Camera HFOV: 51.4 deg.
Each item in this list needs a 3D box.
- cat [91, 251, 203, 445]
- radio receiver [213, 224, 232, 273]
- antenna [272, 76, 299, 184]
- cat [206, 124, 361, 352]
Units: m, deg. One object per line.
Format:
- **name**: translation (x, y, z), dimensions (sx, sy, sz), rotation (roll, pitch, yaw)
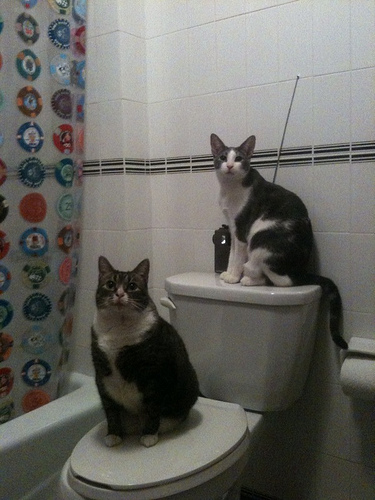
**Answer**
- **cat**: translation (-0.101, 0.194, 0.861), dimensions (0.217, 0.415, 0.307), rotation (1, 1, 17)
- **radio receiver**: translation (0.111, 0.003, 1.280), dimensions (0.062, 0.121, 0.032), rotation (8, 4, 40)
- **antenna**: translation (0.293, -0.341, 1.196), dimensions (0.008, 0.265, 0.054), rotation (4, 3, -22)
- **cat**: translation (0.286, -0.044, 1.150), dimensions (0.587, 0.402, 0.195), rotation (26, 7, 16)
